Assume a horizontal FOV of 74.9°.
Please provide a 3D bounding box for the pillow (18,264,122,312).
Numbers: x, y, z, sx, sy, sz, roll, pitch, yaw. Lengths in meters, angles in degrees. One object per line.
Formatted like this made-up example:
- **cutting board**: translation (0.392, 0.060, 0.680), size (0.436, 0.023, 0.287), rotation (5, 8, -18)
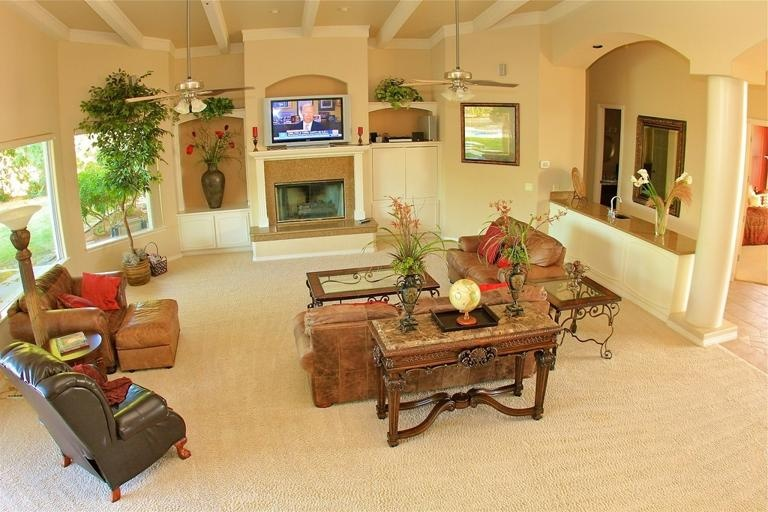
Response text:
- **pillow**: translation (-4.120, 0.503, 6.881), size (0.669, 0.588, 0.817), rotation (-4, 33, -10)

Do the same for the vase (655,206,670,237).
- **vase**: translation (4.137, -0.512, 7.458), size (0.137, 0.414, 0.242), rotation (4, 15, 25)

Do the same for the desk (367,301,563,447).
- **desk**: translation (0.831, 1.260, 5.415), size (1.949, 1.125, 0.742), rotation (-5, 16, -16)

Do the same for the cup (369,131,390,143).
- **cup**: translation (-0.105, -2.582, 10.969), size (0.457, 0.222, 0.363), rotation (-3, 12, -3)

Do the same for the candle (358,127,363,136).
- **candle**: translation (-0.498, -2.608, 10.545), size (0.130, 0.169, 0.117), rotation (-4, 13, -6)

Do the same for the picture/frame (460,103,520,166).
- **picture/frame**: translation (2.169, -2.463, 10.028), size (1.282, 1.246, 0.094), rotation (10, 22, 34)

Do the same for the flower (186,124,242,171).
- **flower**: translation (-3.692, -2.313, 10.831), size (0.938, 0.876, 1.057), rotation (-5, 14, -35)

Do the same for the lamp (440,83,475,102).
- **lamp**: translation (0.980, -2.144, 6.585), size (0.320, 0.198, 0.314), rotation (1, 13, 15)

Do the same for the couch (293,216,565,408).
- **couch**: translation (0.524, 0.694, 6.160), size (3.106, 1.297, 2.231), rotation (-4, 22, -10)

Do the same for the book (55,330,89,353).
- **book**: translation (-3.679, 1.002, 5.892), size (0.259, 0.058, 0.231), rotation (-10, 23, -33)

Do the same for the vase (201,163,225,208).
- **vase**: translation (-3.612, -1.471, 10.605), size (0.457, 0.950, 0.356), rotation (-7, 14, -19)

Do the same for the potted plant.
- **potted plant**: translation (-4.525, -1.470, 9.157), size (1.366, 3.802, 1.284), rotation (-1, 14, 5)

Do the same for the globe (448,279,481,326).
- **globe**: translation (0.838, 0.458, 5.202), size (0.283, 0.433, 0.327), rotation (-1, 13, 7)

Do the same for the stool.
- **stool**: translation (-3.049, 1.239, 6.740), size (0.751, 0.617, 1.131), rotation (-4, 21, -11)

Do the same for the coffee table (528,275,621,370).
- **coffee table**: translation (2.638, 0.921, 7.028), size (1.215, 1.134, 1.178), rotation (-10, 19, -23)

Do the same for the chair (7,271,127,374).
- **chair**: translation (-4.071, 1.100, 6.814), size (1.219, 1.152, 1.607), rotation (-5, 28, -15)

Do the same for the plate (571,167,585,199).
- **plate**: translation (3.632, -1.349, 9.370), size (0.216, 0.590, 0.513), rotation (3, 14, 20)
